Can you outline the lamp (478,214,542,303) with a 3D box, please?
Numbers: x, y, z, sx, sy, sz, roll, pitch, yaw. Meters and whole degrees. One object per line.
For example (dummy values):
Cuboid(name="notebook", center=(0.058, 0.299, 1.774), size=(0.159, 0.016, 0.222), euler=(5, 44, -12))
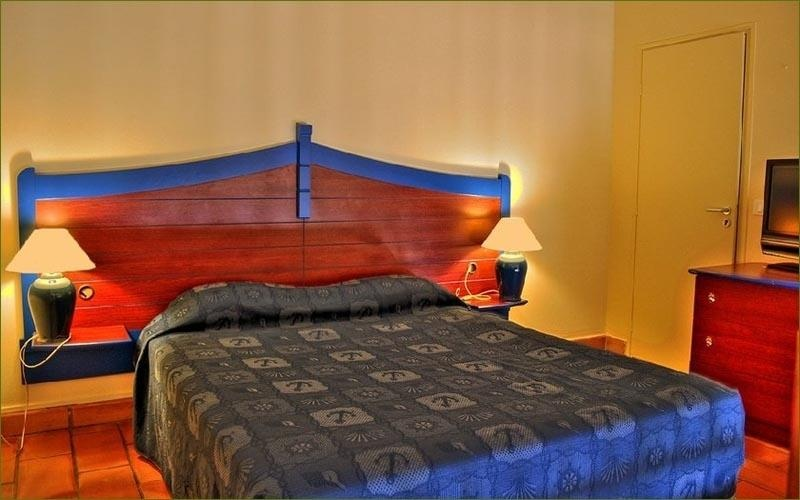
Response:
Cuboid(name="lamp", center=(0.758, 0.072, 3.971), size=(0.662, 0.719, 0.640), euler=(2, 3, 21))
